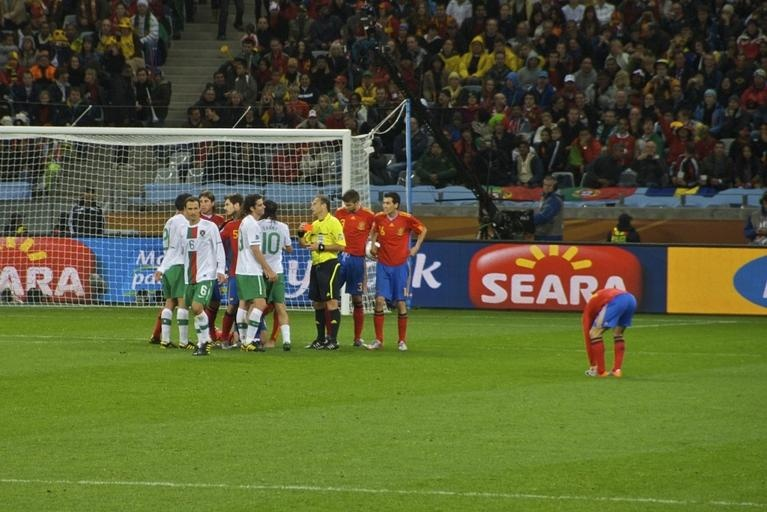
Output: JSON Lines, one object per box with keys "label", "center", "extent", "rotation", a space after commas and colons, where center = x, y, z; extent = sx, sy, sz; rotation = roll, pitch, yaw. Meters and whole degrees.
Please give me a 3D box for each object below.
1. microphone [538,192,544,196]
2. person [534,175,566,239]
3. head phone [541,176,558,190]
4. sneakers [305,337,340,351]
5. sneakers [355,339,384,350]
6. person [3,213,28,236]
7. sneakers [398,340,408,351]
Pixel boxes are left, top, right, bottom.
{"label": "microphone", "center": [3.659, -1.409, 30.780], "extent": [0.090, 0.026, 0.091], "rotation": [-25, 28, -30]}
{"label": "person", "center": [3.773, -1.057, 30.424], "extent": [0.676, 1.433, 0.548], "rotation": [-1, -1, 6]}
{"label": "head phone", "center": [3.804, -1.622, 30.389], "extent": [0.271, 0.325, 0.354], "rotation": [8, 17, 44]}
{"label": "sneakers", "center": [-1.115, 1.593, 24.147], "extent": [0.603, 0.219, 0.208], "rotation": [2, -4, -6]}
{"label": "sneakers", "center": [-0.278, 1.621, 24.275], "extent": [0.515, 0.199, 0.169], "rotation": [2, 0, 22]}
{"label": "person", "center": [-8.467, -0.681, 30.446], "extent": [0.550, 0.581, 1.275], "rotation": [0, -1, -16]}
{"label": "sneakers", "center": [0.342, 1.632, 24.180], "extent": [0.213, 0.158, 0.389], "rotation": [-1, 0, 0]}
